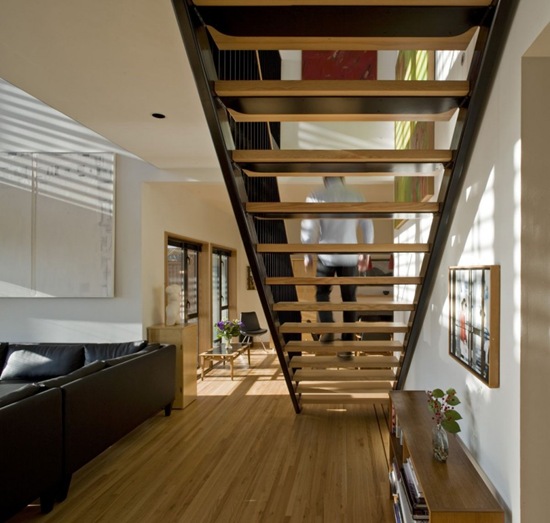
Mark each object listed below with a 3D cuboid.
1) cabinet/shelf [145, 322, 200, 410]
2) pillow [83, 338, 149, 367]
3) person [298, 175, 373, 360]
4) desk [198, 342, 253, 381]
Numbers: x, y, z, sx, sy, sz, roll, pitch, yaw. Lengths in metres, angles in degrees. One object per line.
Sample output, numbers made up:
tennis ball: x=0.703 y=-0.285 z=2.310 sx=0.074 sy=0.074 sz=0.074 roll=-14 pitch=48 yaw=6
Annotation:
cabinet/shelf: x=-1.227 y=1.242 z=5.110 sx=0.300 sy=0.884 sz=0.933 roll=0 pitch=-3 yaw=3
pillow: x=-1.922 y=1.038 z=5.035 sx=0.392 sy=0.145 sz=0.429 roll=-4 pitch=0 yaw=12
person: x=0.542 y=0.080 z=3.819 sx=0.641 sy=1.721 sz=1.372 roll=-1 pitch=-1 yaw=13
desk: x=-0.830 y=1.622 z=7.346 sx=0.838 sy=0.539 sz=1.661 roll=-1 pitch=-2 yaw=-4
